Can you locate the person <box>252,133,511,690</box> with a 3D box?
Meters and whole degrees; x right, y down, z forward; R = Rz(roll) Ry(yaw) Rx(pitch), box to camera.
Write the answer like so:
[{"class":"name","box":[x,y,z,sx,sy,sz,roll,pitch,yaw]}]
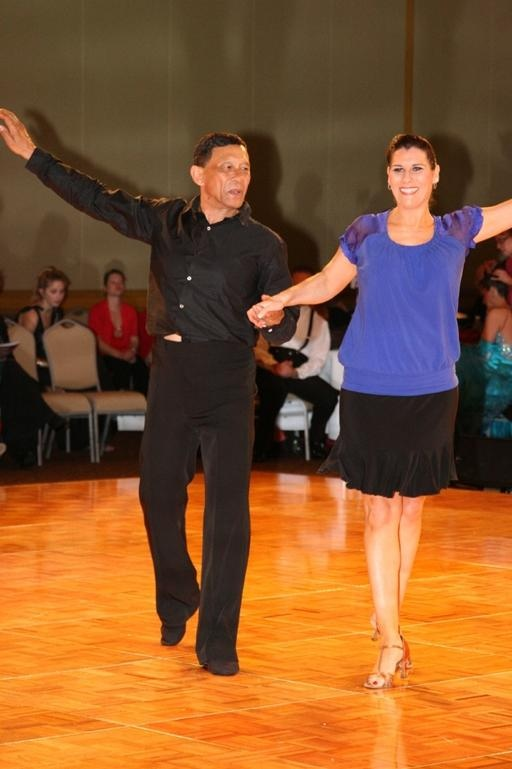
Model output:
[{"class":"person","box":[0.315,0.064,1.801,0.608,1.382,0.314,0,2,-25]}]
